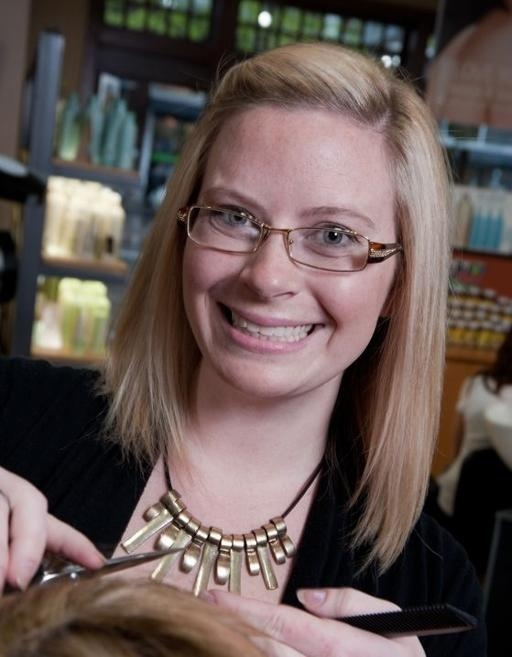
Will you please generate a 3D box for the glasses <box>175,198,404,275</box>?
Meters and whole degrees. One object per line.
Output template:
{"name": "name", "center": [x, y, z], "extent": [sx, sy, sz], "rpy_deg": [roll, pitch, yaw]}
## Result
{"name": "glasses", "center": [0.048, -0.146, 0.977], "extent": [0.351, 0.072, 0.132], "rpy_deg": [10, 24, 8]}
